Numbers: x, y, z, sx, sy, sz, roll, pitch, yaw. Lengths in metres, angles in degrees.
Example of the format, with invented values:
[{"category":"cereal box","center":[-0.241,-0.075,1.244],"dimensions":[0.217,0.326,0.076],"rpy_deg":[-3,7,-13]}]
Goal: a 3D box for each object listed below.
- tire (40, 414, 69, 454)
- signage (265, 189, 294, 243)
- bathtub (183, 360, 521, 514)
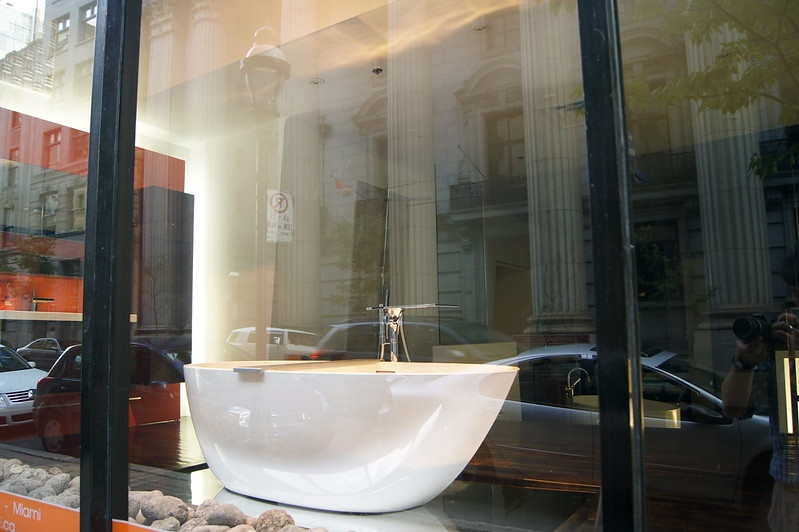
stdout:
[{"category":"tire","center":[-1.707,0.845,3.250],"dimensions":[0.172,0.169,0.055],"rpy_deg":[-4,-9,13]},{"category":"signage","center":[-0.802,-0.334,4.397],"dimensions":[0.205,0.348,0.008],"rpy_deg":[-2,4,-36]},{"category":"bathtub","center":[-0.252,0.715,2.784],"dimensions":[1.374,0.591,0.352],"rpy_deg":[-4,-4,19]}]
